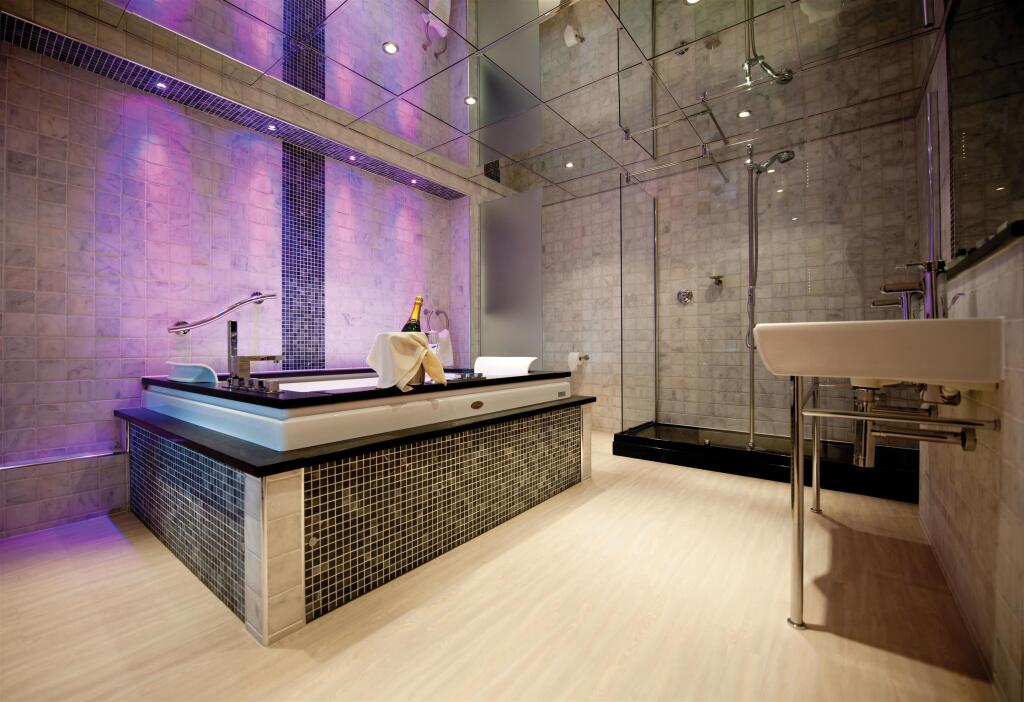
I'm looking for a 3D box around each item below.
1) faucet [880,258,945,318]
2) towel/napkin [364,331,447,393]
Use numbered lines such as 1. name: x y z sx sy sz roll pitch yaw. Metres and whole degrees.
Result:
1. faucet: 2.309 -0.343 3.777 0.264 0.324 0.339 10 15 43
2. towel/napkin: -0.684 0.042 4.114 0.478 0.337 0.383 2 -3 14
